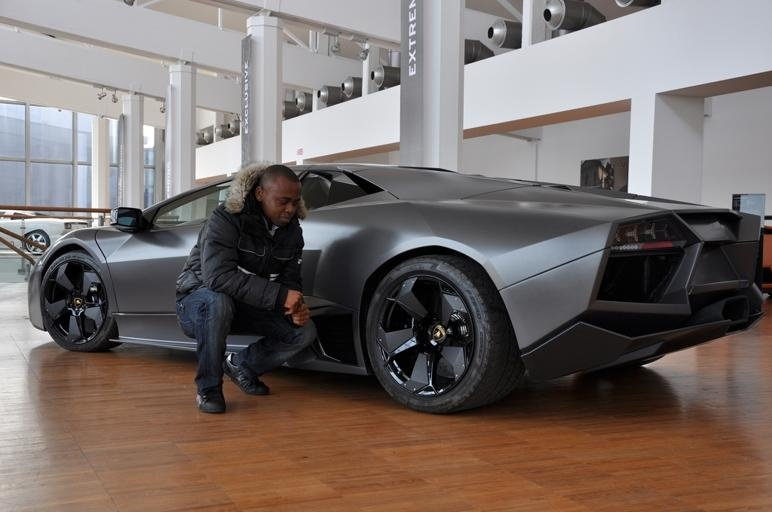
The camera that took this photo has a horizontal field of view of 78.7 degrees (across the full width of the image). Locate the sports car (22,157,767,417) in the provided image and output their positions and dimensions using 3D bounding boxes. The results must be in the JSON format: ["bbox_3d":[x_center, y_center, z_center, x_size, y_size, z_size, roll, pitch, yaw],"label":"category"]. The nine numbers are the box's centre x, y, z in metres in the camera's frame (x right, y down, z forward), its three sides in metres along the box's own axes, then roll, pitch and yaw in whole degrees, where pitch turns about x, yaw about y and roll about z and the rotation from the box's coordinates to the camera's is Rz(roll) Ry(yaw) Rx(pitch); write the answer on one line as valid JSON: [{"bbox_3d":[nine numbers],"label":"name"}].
[{"bbox_3d":[-0.182,0.095,2.572,3.410,0.840,1.838,2,1,32],"label":"sports car"}]
